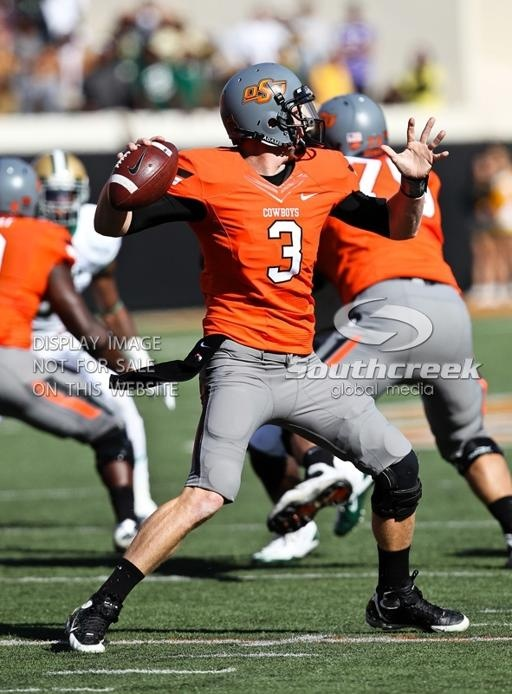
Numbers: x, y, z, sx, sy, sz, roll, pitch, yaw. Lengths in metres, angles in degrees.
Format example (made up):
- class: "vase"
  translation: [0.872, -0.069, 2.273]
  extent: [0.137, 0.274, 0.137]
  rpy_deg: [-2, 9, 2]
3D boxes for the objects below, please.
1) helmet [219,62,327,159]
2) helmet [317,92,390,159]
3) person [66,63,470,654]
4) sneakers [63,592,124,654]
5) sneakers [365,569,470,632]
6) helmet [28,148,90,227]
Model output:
- class: "helmet"
  translation: [0.030, -0.691, 2.168]
  extent: [0.316, 0.194, 0.206]
  rpy_deg: [-1, 18, -7]
- class: "helmet"
  translation: [0.466, -1.026, 3.480]
  extent: [0.346, 0.276, 0.259]
  rpy_deg: [11, 26, 36]
- class: "person"
  translation: [0.056, 0.054, 2.090]
  extent: [0.870, 1.572, 1.007]
  rpy_deg: [2, 26, 12]
- class: "sneakers"
  translation: [-0.413, 0.689, 1.940]
  extent: [0.113, 0.066, 0.209]
  rpy_deg: [-21, 14, -1]
- class: "sneakers"
  translation: [0.441, 0.742, 2.238]
  extent: [0.392, 0.188, 0.131]
  rpy_deg: [0, -5, 6]
- class: "helmet"
  translation: [-1.219, -0.972, 4.607]
  extent: [0.445, 0.421, 0.561]
  rpy_deg: [-1, 8, -25]
